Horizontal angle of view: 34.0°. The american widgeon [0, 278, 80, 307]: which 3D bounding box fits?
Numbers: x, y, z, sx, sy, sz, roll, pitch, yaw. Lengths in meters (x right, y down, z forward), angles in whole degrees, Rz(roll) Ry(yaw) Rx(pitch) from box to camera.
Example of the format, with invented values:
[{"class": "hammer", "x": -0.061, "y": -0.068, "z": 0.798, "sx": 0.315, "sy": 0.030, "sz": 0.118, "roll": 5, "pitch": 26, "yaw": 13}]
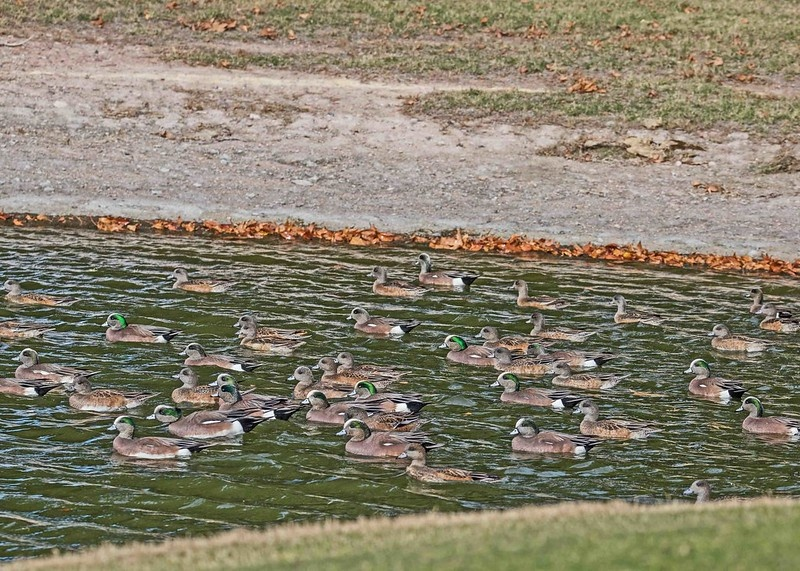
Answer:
[{"class": "american widgeon", "x": -9.946, "y": 0.271, "z": 35.828, "sx": 2.150, "sy": 0.501, "sz": 0.702, "roll": 7, "pitch": 29, "yaw": 14}]
